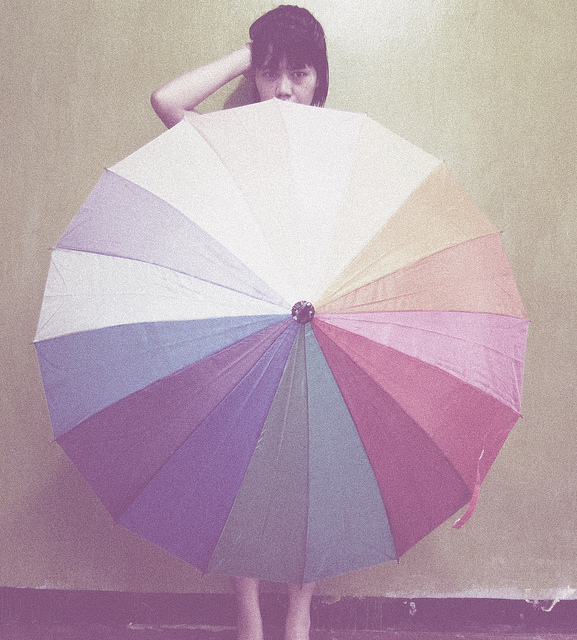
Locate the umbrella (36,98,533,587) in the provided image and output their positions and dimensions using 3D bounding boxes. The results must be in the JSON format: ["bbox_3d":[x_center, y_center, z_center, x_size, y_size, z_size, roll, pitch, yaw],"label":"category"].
[{"bbox_3d":[-0.021,0.051,2.081,1.364,0.937,0.866,8,-49,-1],"label":"umbrella"}]
